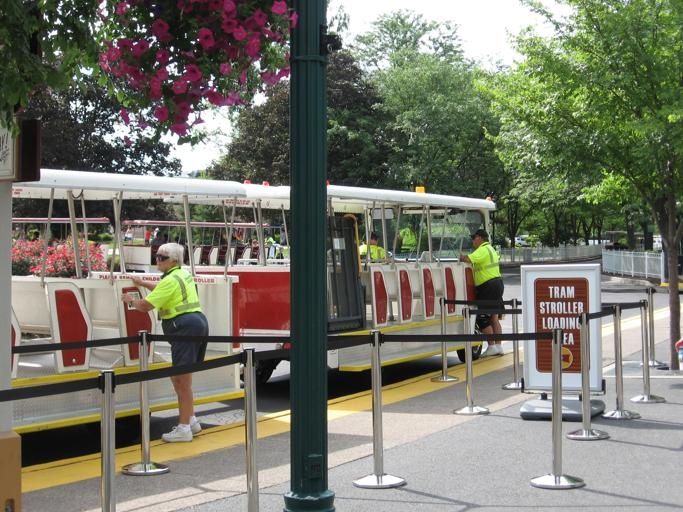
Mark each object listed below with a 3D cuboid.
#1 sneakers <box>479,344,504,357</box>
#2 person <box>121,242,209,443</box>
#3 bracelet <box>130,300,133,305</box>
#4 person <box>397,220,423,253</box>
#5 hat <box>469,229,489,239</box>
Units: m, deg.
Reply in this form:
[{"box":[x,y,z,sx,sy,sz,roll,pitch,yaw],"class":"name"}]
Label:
[{"box":[2.863,1.825,16.721,0.562,0.260,0.200,0,2,26],"class":"sneakers"},{"box":[-1.973,1.013,10.110,0.841,2.084,1.185,-2,1,-13],"class":"person"},{"box":[-2.408,0.536,9.936,0.039,0.032,0.042,2,1,10],"class":"bracelet"},{"box":[1.305,-0.331,16.327,0.508,0.781,0.384,-2,3,-16],"class":"person"},{"box":[2.584,-0.413,16.153,0.189,0.231,0.217,14,-19,-36],"class":"hat"}]
